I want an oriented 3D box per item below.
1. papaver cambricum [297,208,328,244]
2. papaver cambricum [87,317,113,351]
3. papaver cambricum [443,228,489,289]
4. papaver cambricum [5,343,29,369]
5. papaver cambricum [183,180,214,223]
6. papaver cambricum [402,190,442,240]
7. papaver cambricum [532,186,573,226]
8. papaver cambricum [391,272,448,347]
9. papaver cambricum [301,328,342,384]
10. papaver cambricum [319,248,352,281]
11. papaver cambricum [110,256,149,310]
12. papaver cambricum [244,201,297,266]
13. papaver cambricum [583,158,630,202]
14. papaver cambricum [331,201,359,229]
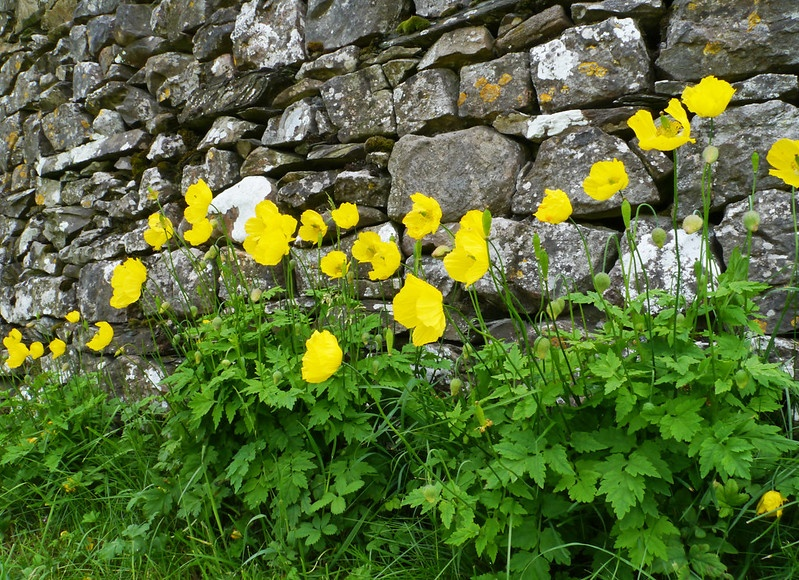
[{"bbox_3d":[-0.369,-0.295,3.103,0.114,0.149,0.159,-16,31,-42],"label":"papaver cambricum"},{"bbox_3d":[-1.470,0.229,3.355,0.104,0.151,0.250,-11,2,-25],"label":"papaver cambricum"},{"bbox_3d":[0.247,-0.114,2.482,0.121,0.199,0.192,-11,2,-38],"label":"papaver cambricum"},{"bbox_3d":[-1.969,0.338,3.520,0.101,0.138,0.206,-11,2,-30],"label":"papaver cambricum"},{"bbox_3d":[-0.901,-0.389,3.051,0.085,0.168,0.180,-8,-35,-46],"label":"papaver cambricum"},{"bbox_3d":[0.086,-0.292,2.718,0.088,0.182,0.151,-11,2,-31],"label":"papaver cambricum"},{"bbox_3d":[0.589,-0.321,2.633,0.119,0.133,0.144,19,-10,-13],"label":"papaver cambricum"},{"bbox_3d":[0.080,0.061,2.486,0.111,0.222,0.234,-22,38,-21],"label":"papaver cambricum"},{"bbox_3d":[-0.296,0.254,2.585,0.149,0.199,0.081,-10,1,1],"label":"papaver cambricum"},{"bbox_3d":[-0.275,-0.116,3.046,0.116,0.123,0.067,-53,-12,27],"label":"papaver cambricum"},{"bbox_3d":[-1.261,-0.035,3.171,0.160,0.238,0.196,-11,2,-22],"label":"papaver cambricum"},{"bbox_3d":[-0.535,-0.238,2.935,0.247,0.269,0.130,-36,-23,34],"label":"papaver cambricum"},{"bbox_3d":[0.756,-0.374,2.559,0.193,0.118,0.220,-10,12,15],"label":"papaver cambricum"},{"bbox_3d":[-0.238,-0.332,3.039,0.100,0.116,0.112,-10,1,4],"label":"papaver cambricum"}]
